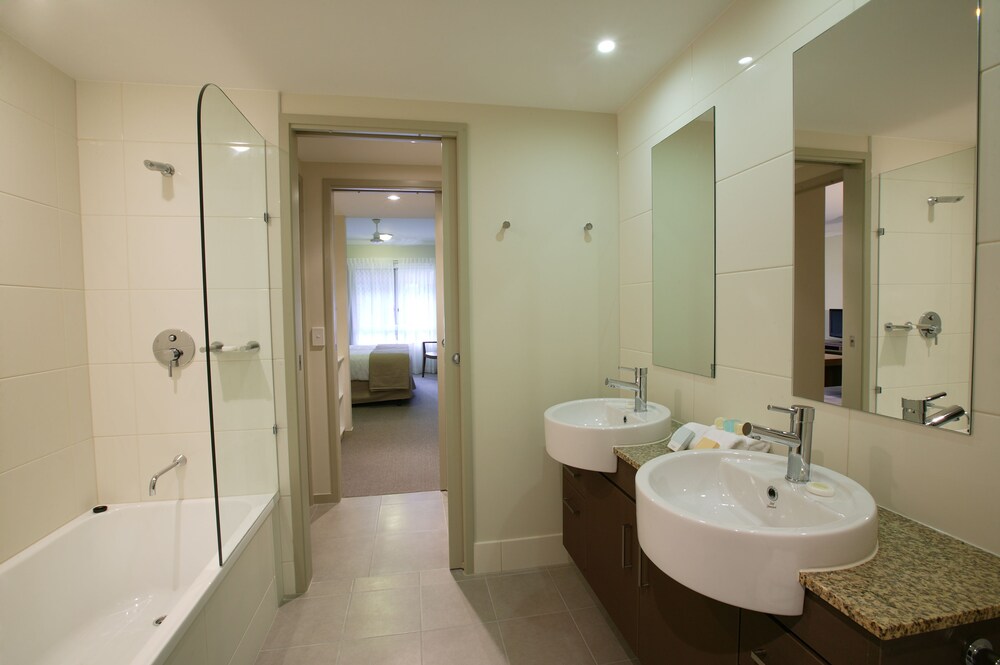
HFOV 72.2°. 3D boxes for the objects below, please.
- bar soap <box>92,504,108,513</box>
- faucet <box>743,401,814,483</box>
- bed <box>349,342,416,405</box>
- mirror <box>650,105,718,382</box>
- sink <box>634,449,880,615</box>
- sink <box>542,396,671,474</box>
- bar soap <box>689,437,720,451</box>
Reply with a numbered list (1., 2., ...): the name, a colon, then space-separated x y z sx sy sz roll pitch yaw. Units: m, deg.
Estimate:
1. bar soap: -2.075 0.915 3.556 0.049 0.019 0.036 -4 11 -20
2. faucet: 1.115 0.443 2.744 0.269 0.286 0.098 4 0 -5
3. bed: -1.346 0.454 7.623 0.643 0.549 0.825 -4 15 -14
4. mirror: 0.921 -0.418 3.495 0.024 1.246 0.592 -1 1 -17
5. sink: 1.006 0.805 2.905 0.960 0.345 0.975 0 8 -25
6. sink: 0.507 0.504 3.434 0.433 0.154 0.443 -4 9 -12
7. bar soap: 0.919 0.508 3.097 0.072 0.022 0.078 -18 14 -42
